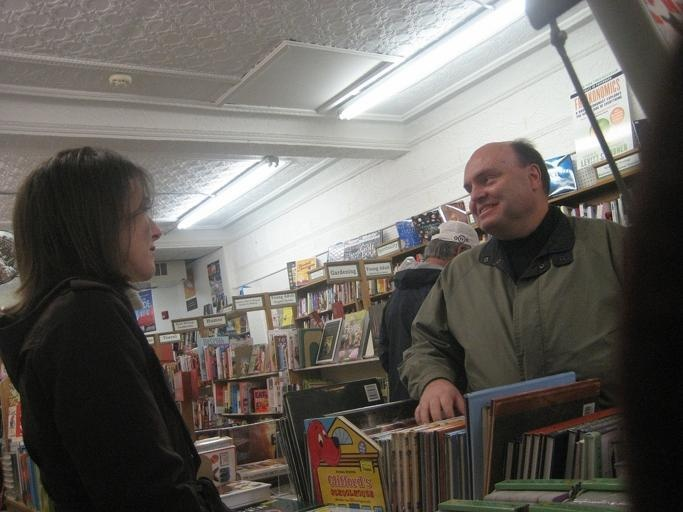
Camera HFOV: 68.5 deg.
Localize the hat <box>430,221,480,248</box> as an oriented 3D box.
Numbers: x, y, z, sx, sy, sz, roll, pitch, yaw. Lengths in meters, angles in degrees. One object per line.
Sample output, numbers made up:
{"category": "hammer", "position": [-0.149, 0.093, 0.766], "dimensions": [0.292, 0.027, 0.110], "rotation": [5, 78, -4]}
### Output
{"category": "hat", "position": [0.750, -0.147, 3.228], "dimensions": [0.244, 0.177, 0.396], "rotation": [8, 1, 39]}
